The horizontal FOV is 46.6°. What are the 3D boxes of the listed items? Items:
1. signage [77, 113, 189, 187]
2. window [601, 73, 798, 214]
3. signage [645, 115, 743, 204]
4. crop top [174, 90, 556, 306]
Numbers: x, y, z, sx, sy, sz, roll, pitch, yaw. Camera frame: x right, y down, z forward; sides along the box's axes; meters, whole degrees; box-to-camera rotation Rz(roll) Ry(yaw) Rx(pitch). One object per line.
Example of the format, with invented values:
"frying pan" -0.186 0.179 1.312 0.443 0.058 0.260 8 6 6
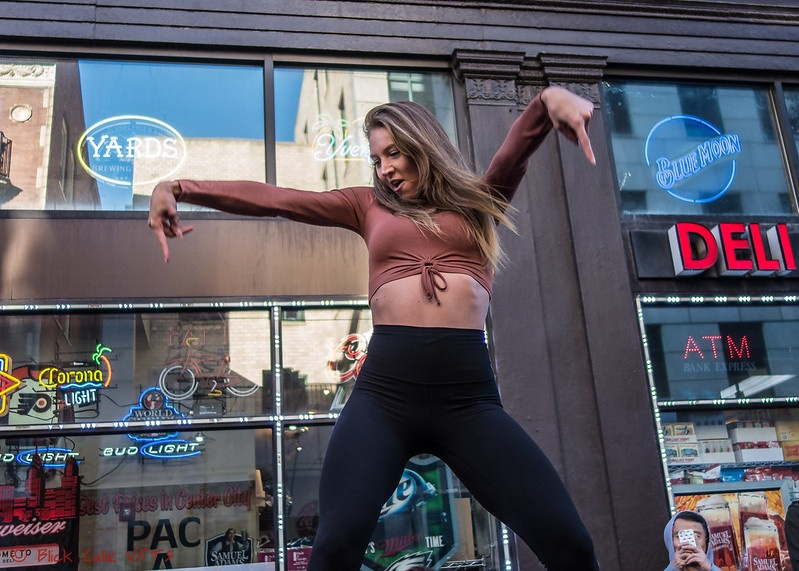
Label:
"signage" -2.735 -1.342 9.336 1.052 0.802 0.013 -8 -23 -9
"window" 3.240 -1.514 10.234 1.635 1.285 0.068 3 -26 -16
"signage" 3.195 -1.351 10.184 0.860 0.860 0.043 11 -23 -10
"crop top" 0.038 -0.384 6.099 2.875 1.280 0.667 -12 -13 -8
